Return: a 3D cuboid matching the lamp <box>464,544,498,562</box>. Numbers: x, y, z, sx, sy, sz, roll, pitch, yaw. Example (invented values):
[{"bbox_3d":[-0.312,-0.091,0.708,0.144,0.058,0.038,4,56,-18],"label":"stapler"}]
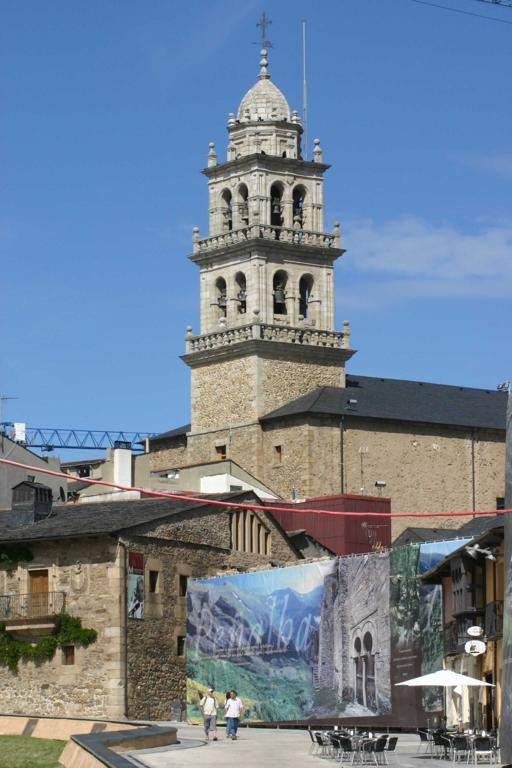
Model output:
[{"bbox_3d":[5.559,4.114,51.823,0.497,0.560,0.261,5,-6,20],"label":"lamp"}]
